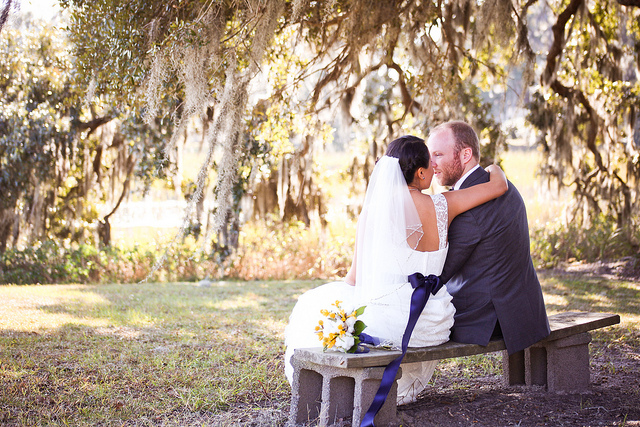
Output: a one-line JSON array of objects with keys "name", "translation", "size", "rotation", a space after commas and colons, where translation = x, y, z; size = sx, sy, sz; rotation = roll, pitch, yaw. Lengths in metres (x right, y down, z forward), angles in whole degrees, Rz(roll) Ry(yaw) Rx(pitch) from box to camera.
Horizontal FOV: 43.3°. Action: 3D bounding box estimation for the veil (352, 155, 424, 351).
[{"name": "veil", "translation": [0.917, 0.501, 9.515], "size": [0.451, 2.262, 0.773], "rotation": [6, -4, -13]}]
